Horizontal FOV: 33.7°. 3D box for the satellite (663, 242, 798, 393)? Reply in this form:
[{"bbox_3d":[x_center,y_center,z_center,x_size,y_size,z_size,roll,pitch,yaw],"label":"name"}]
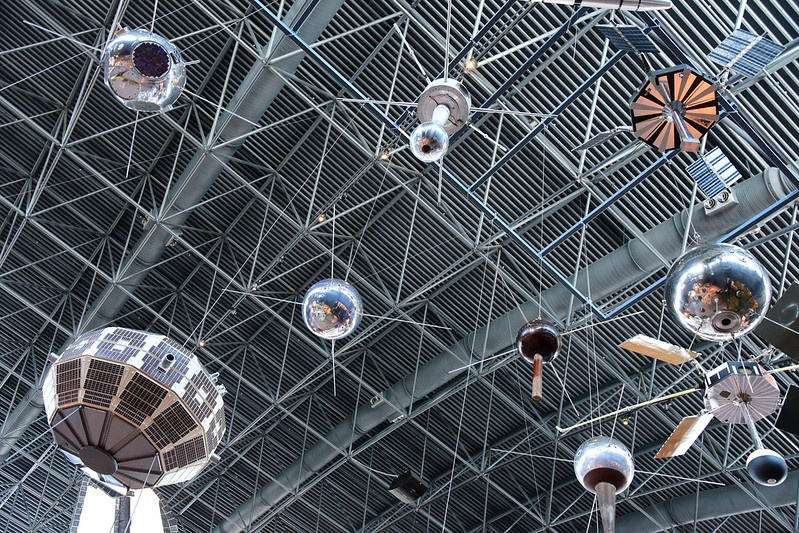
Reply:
[{"bbox_3d":[7.410,0.791,30.184,2.249,2.518,2.203,0,-59,8],"label":"satellite"}]

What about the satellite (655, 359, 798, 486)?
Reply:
[{"bbox_3d":[8.331,3.412,34.054,3.248,2.799,3.201,-13,-65,28],"label":"satellite"}]

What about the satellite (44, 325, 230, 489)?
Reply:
[{"bbox_3d":[-6.124,3.630,33.096,4.006,2.505,3.968,17,-44,21],"label":"satellite"}]

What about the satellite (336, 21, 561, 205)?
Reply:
[{"bbox_3d":[1.967,-3.195,34.125,4.538,4.187,4.518,-13,-67,32],"label":"satellite"}]

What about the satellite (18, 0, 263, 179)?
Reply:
[{"bbox_3d":[-7.201,-4.749,34.823,5.188,1.846,5.137,22,-57,-24],"label":"satellite"}]
